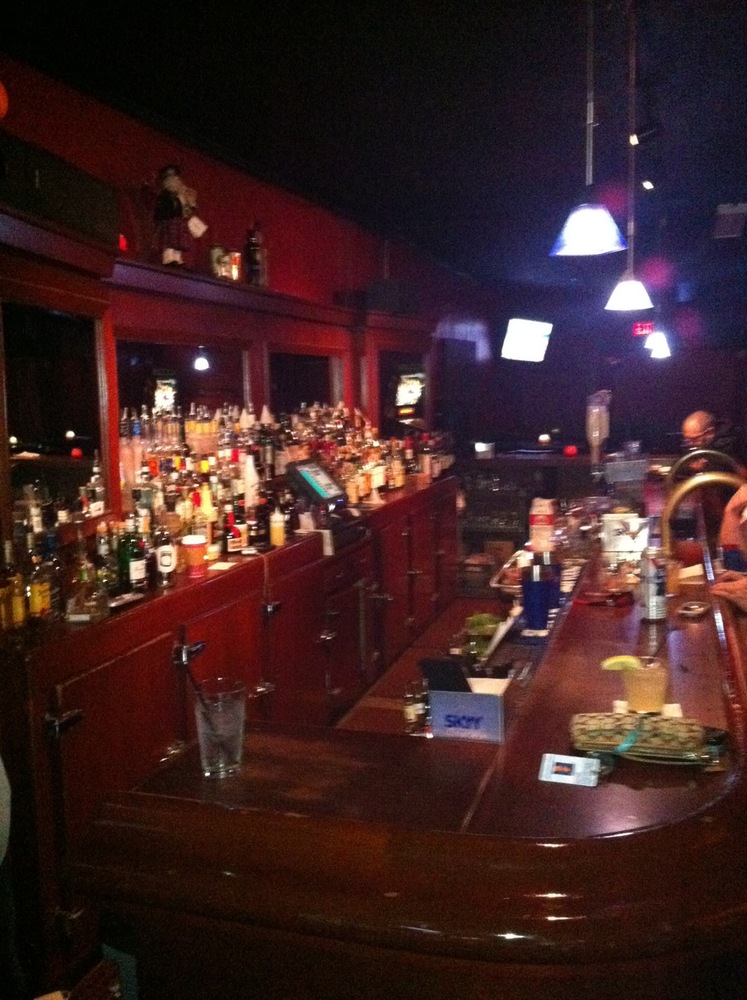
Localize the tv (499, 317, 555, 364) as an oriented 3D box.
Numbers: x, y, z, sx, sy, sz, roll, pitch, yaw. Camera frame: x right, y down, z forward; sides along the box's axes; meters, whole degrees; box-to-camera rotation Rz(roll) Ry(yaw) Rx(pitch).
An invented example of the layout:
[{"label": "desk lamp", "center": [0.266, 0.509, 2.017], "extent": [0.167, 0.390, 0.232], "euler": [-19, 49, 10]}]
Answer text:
[{"label": "tv", "center": [1.787, -1.843, 9.138], "extent": [0.545, 0.531, 0.455], "euler": [-7, -2, 34]}]

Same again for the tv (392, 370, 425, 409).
[{"label": "tv", "center": [0.282, -0.923, 6.595], "extent": [0.082, 0.288, 0.334], "euler": [5, 12, 37]}]

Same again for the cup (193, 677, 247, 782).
[{"label": "cup", "center": [-0.284, 0.420, 1.448], "extent": [0.106, 0.137, 0.118], "euler": [3, 6, 28]}]
